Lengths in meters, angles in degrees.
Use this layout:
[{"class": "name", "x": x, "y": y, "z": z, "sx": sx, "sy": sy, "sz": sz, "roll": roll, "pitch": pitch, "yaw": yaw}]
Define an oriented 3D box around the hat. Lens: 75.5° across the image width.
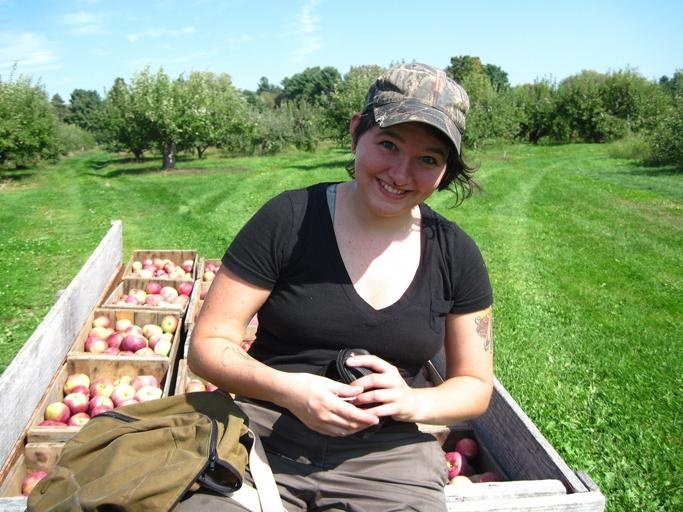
[{"class": "hat", "x": 0.368, "y": -0.724, "z": 2.164, "sx": 0.521, "sy": 0.445, "sz": 0.380, "roll": 1, "pitch": 13, "yaw": 4}]
